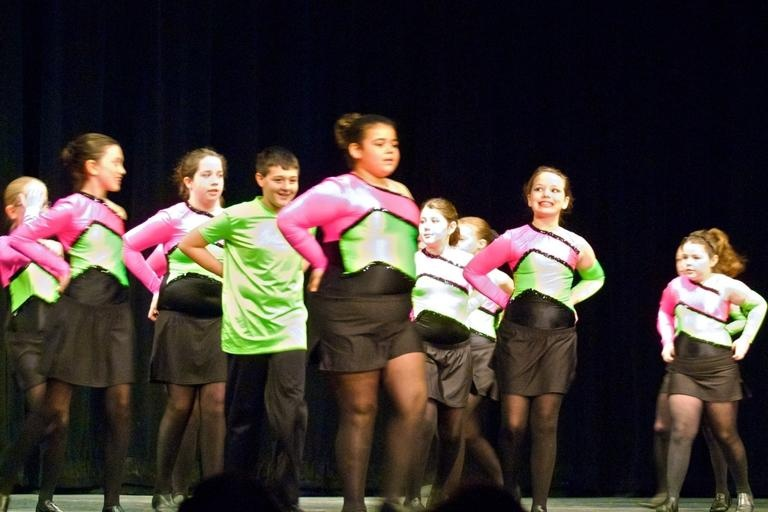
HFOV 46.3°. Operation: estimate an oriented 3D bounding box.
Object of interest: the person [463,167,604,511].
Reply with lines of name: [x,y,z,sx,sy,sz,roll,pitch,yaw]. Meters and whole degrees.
person: [0.913,0.477,5.603,0.858,2.136,0.395,3,-12,5]
